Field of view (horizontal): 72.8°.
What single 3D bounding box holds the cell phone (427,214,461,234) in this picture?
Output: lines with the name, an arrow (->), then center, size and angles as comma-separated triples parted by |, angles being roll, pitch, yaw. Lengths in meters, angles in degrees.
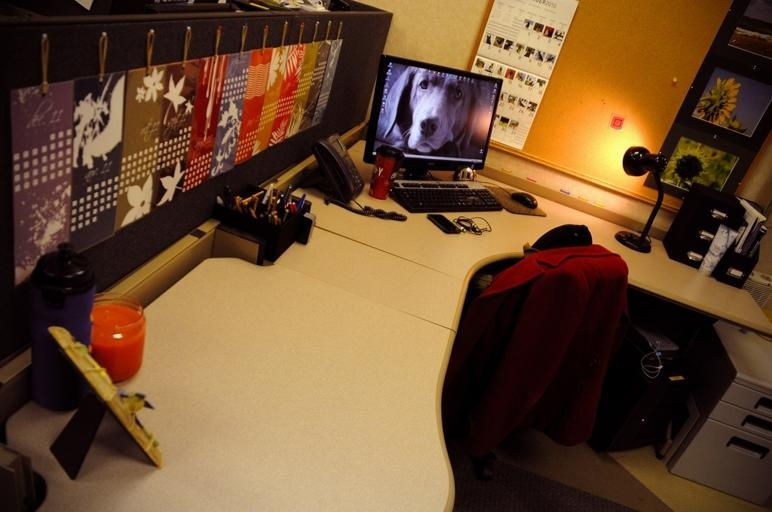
cell phone -> 0.263, -0.150, 2.384 | 0.077, 0.035, 0.138 | -11, 45, -41

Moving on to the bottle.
bottle -> -0.768, 0.171, 1.235 | 0.126, 0.423, 0.095 | 11, 23, -6

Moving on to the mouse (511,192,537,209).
mouse -> 0.747, -0.311, 2.855 | 0.134, 0.048, 0.070 | 34, 28, 33
